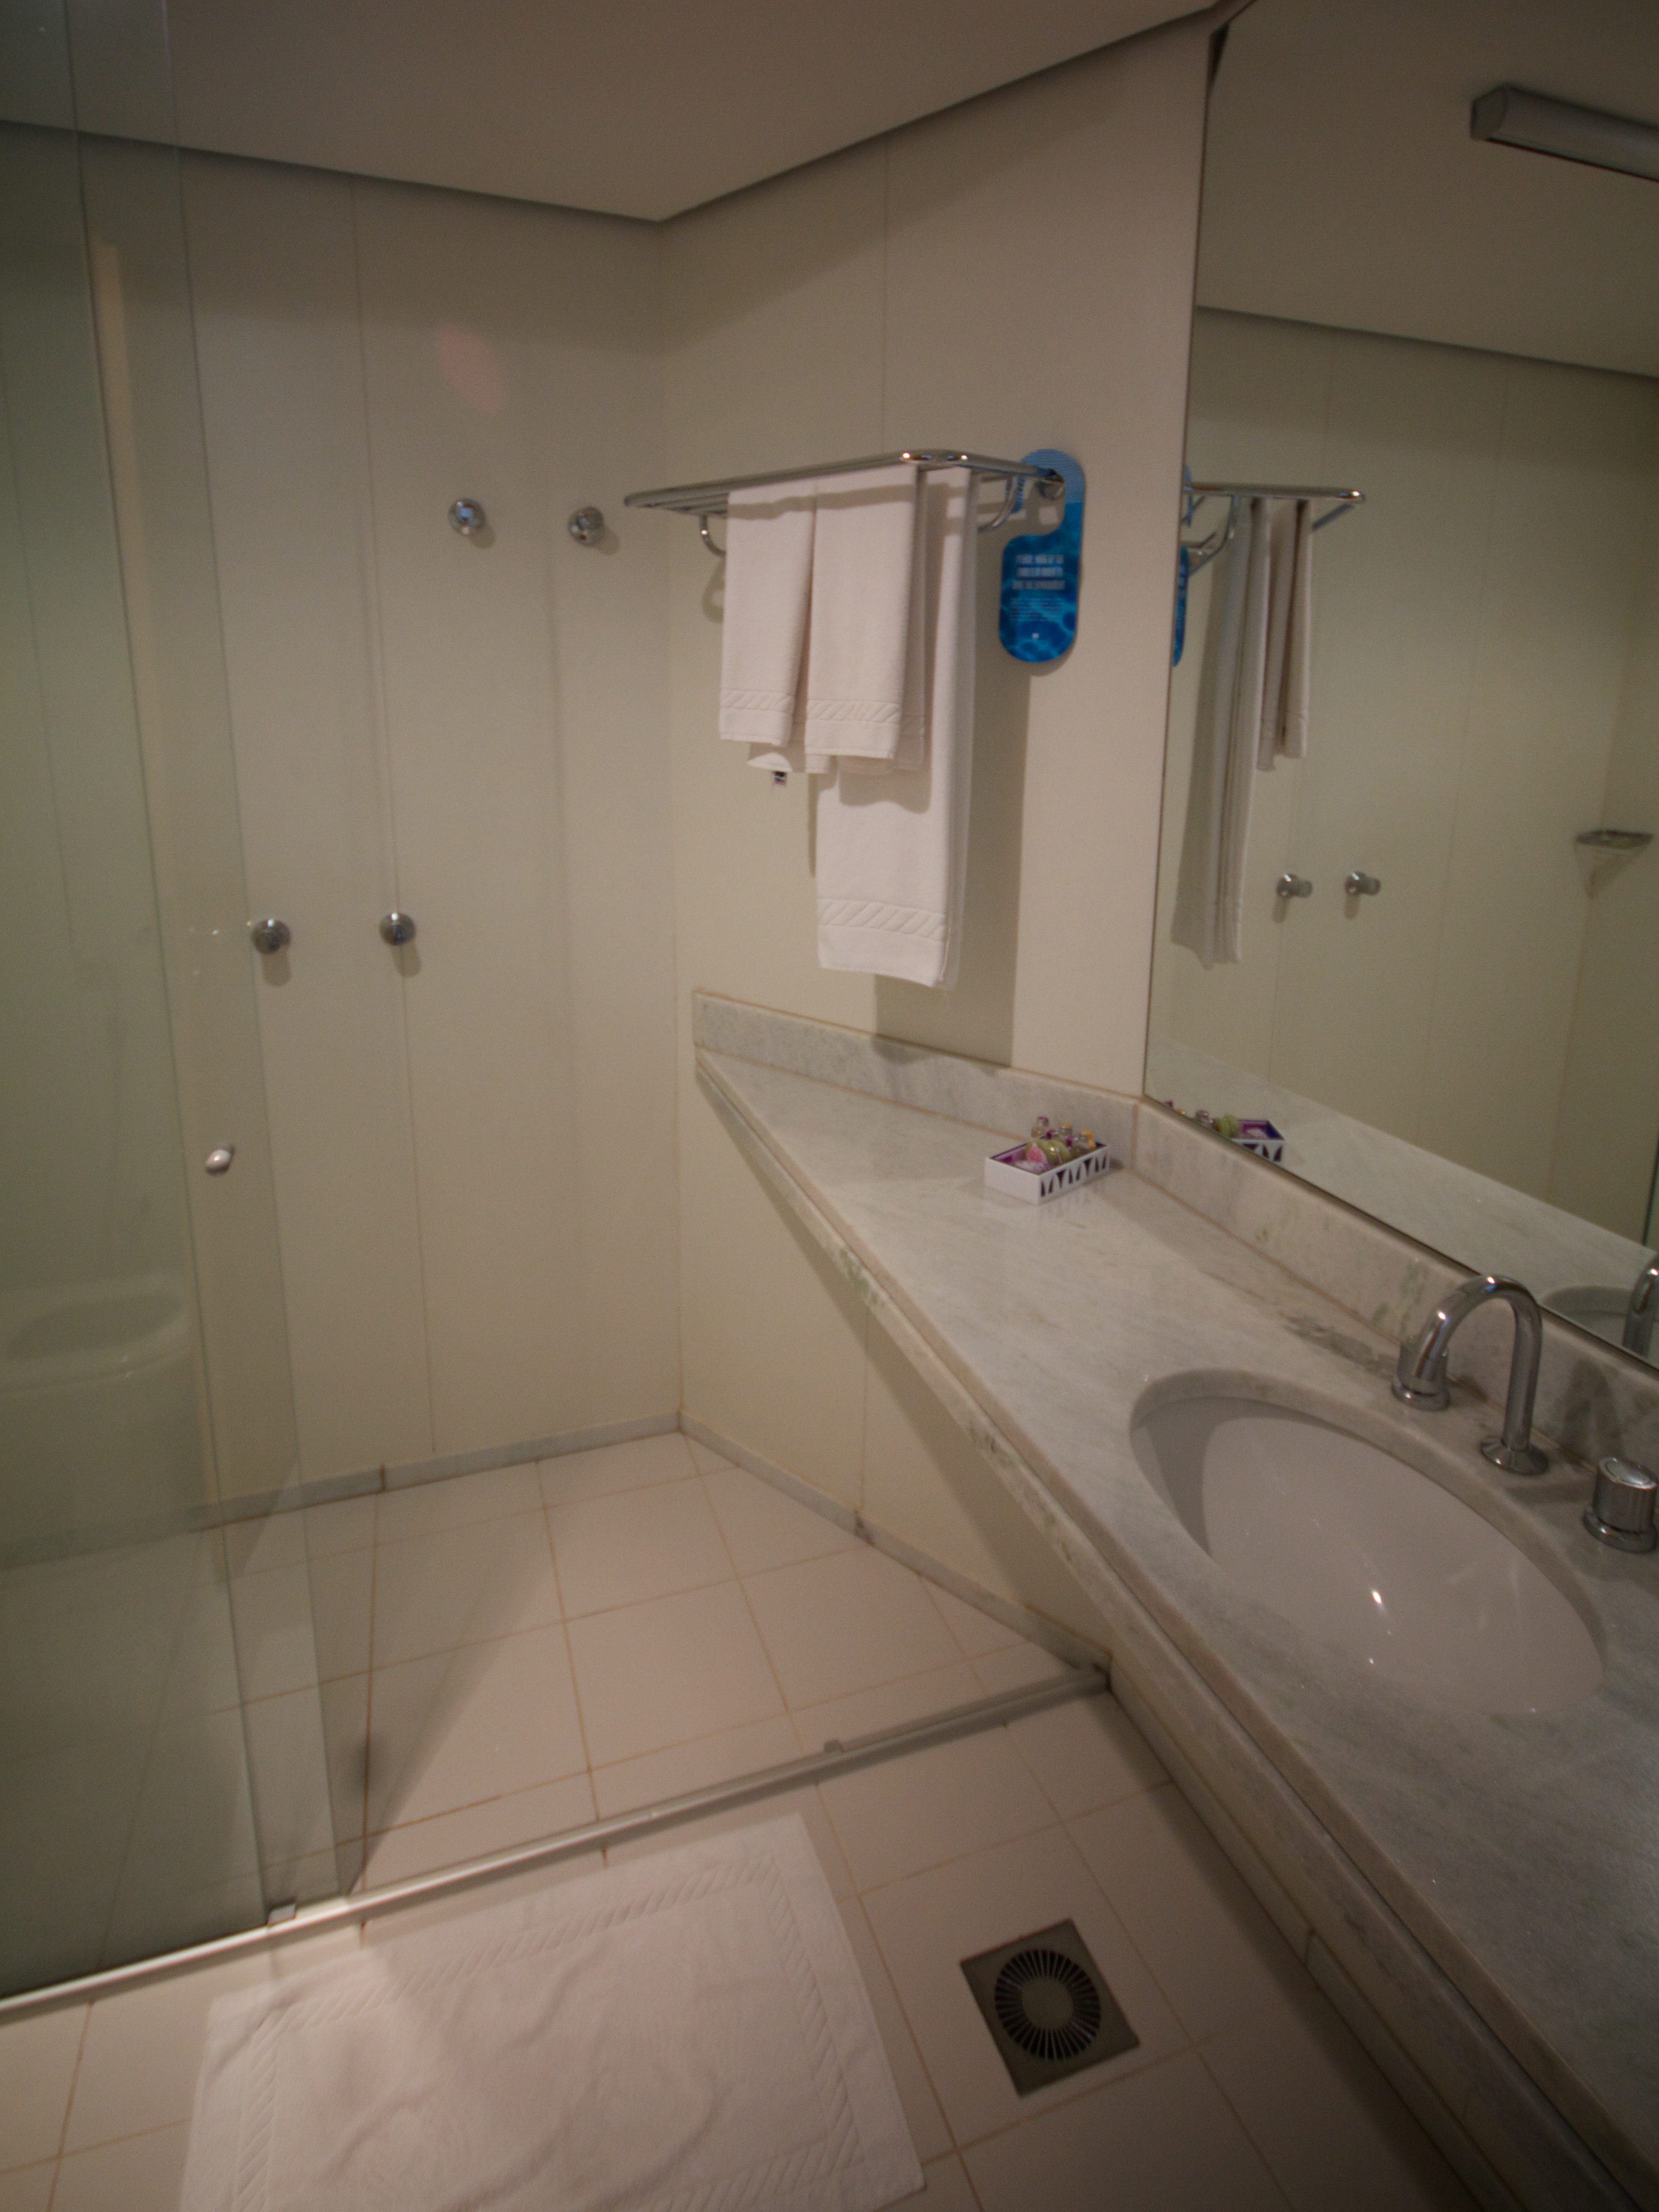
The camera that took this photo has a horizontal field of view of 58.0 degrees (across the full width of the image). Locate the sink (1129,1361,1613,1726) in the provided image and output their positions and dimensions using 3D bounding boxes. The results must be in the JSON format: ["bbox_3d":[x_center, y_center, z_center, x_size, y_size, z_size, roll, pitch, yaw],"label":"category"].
[{"bbox_3d":[0.456,0.368,1.279,0.193,0.117,0.429,-10,22,-40],"label":"sink"}]

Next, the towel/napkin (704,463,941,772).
[{"bbox_3d":[-0.022,-0.629,1.957,0.303,0.378,0.065,9,7,32],"label":"towel/napkin"}]

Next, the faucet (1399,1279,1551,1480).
[{"bbox_3d":[0.551,0.216,1.258,0.117,0.210,0.076,1,36,19],"label":"faucet"}]
